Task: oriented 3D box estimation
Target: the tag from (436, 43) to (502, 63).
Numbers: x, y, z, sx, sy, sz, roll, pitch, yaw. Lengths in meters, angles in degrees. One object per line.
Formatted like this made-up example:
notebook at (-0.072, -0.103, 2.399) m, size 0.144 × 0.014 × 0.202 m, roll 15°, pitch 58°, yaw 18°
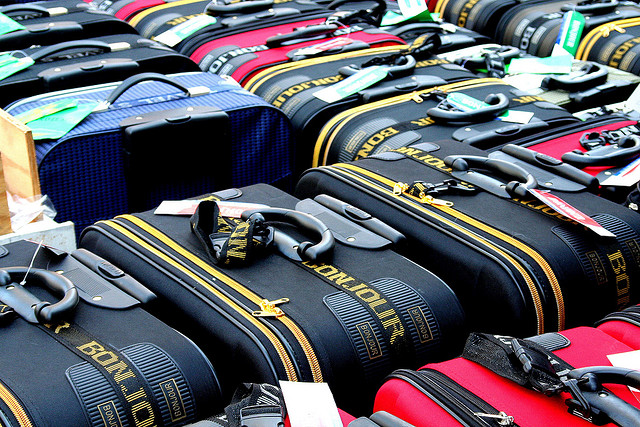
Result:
tag at (1.063, -1.088, 3.646) m, size 0.387 × 0.077 × 0.227 m, roll -9°, pitch 23°, yaw -22°

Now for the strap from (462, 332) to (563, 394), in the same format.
strap at (0.552, 0.402, 1.442) m, size 0.208 × 0.059 × 0.254 m, roll 5°, pitch 12°, yaw -42°

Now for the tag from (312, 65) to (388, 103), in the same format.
tag at (0.175, -0.730, 2.967) m, size 0.594 × 0.035 × 0.164 m, roll -19°, pitch 44°, yaw -27°

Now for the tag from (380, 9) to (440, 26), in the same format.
tag at (0.665, -1.434, 3.846) m, size 0.351 × 0.061 × 0.158 m, roll 2°, pitch 6°, yaw -4°

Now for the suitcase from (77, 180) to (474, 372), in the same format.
suitcase at (-0.210, 0.188, 1.869) m, size 0.830 × 0.353 × 0.966 m, roll -19°, pitch 47°, yaw -37°

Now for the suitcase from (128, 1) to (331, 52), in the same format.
suitcase at (-0.705, -1.373, 3.691) m, size 0.896 × 0.182 × 0.751 m, roll -12°, pitch 29°, yaw -28°

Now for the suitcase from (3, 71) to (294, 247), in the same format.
suitcase at (-0.781, -0.224, 2.257) m, size 0.988 × 0.672 × 0.472 m, roll -16°, pitch 39°, yaw -26°

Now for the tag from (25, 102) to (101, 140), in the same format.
tag at (-1.131, -0.392, 2.265) m, size 0.170 × 0.028 × 0.265 m, roll 23°, pitch 38°, yaw 38°

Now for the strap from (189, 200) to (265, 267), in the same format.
strap at (-0.350, 0.068, 1.829) m, size 0.218 × 0.102 × 0.315 m, roll -19°, pitch 37°, yaw -36°

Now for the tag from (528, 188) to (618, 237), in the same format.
tag at (0.901, -0.014, 1.928) m, size 0.129 × 0.014 × 0.350 m, roll -3°, pitch 23°, yaw -31°

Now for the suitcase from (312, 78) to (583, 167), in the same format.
suitcase at (0.513, -0.485, 3.051) m, size 1.378 × 0.476 × 1.056 m, roll -10°, pitch 11°, yaw -7°
